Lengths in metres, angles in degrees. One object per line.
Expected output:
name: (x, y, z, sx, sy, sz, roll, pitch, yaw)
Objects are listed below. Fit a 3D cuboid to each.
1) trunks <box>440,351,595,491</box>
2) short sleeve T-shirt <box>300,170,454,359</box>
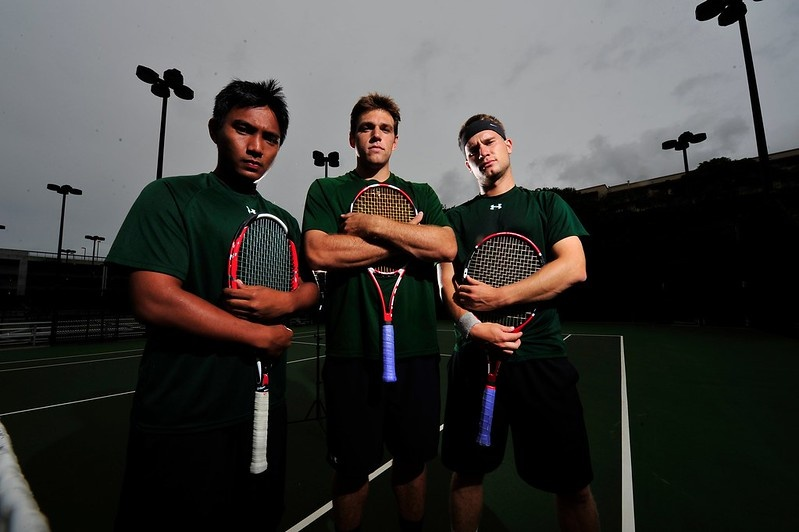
trunks: (1.451, 2.041, 6.642, 1.971, 2.028, 0.755, 0, -13, 15)
short sleeve T-shirt: (-0.307, -0.004, 6.556, 2.158, 3.031, 0.475, -1, -15, -9)
